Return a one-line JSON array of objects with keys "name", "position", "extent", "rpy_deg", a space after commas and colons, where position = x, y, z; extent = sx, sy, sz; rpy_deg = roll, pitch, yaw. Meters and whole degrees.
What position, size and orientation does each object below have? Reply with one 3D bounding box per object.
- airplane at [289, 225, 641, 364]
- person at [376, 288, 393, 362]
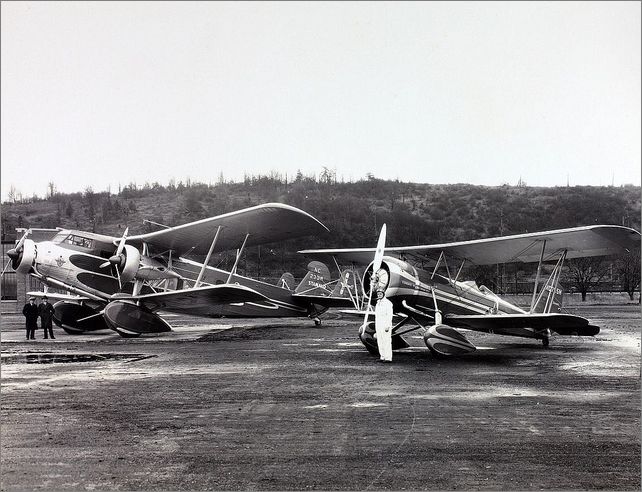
[{"name": "airplane", "position": [3.680, 1.131, 16.551], "extent": [6.289, 3.215, 5.025], "rpy_deg": [3, -2, 1]}, {"name": "person", "position": [1.400, 1.853, 14.534], "extent": [0.316, 1.311, 0.573], "rpy_deg": [5, -3, -14]}]
